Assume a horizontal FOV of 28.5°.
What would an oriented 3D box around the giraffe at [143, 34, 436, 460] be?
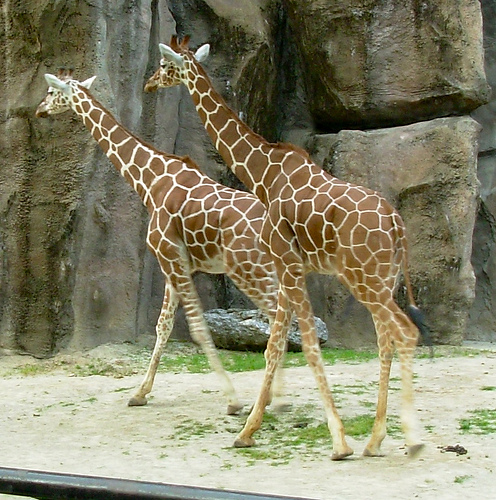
[{"bbox_3d":[0.377,-0.134,6.738,1.824,2.551,2.601,1,1,14],"label":"giraffe"}]
